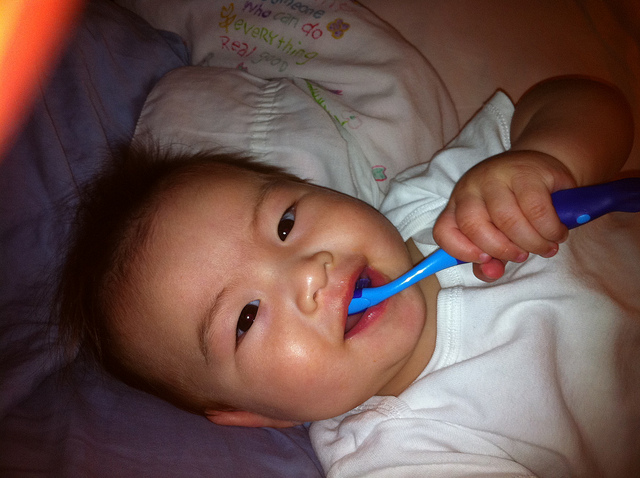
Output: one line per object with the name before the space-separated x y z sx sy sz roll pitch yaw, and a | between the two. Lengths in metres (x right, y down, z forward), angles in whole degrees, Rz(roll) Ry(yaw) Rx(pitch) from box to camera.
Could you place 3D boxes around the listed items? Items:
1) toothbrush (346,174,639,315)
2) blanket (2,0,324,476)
toothbrush | 0.374 0.024 1.284 0.114 0.612 0.091 -6 76 -71
blanket | -0.525 -0.026 1.781 0.766 1.133 0.266 16 -7 -2
